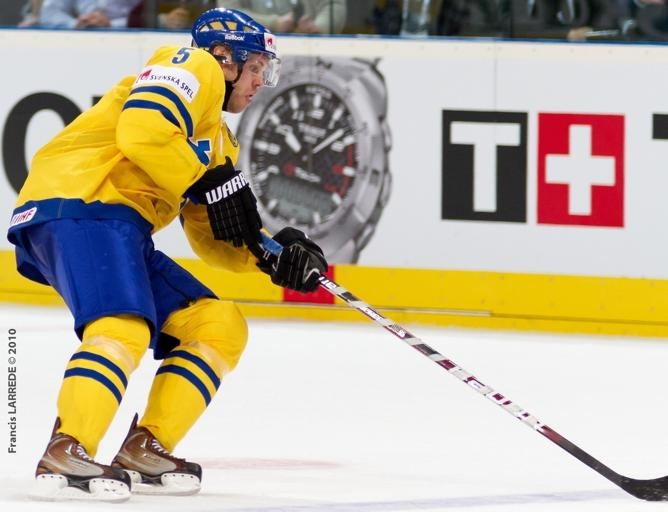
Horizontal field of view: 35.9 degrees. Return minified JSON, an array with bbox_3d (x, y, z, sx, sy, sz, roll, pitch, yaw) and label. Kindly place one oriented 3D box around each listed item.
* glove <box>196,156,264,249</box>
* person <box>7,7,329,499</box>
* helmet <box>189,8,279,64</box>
[{"bbox_3d":[-0.463,-0.207,3.722,0.369,0.310,0.260,2,22,-5],"label":"glove"},{"bbox_3d":[-0.628,-0.063,3.592,0.791,1.662,1.001,16,14,39],"label":"person"},{"bbox_3d":[-0.369,-0.823,3.841,0.279,0.161,0.190,14,6,3],"label":"helmet"}]
